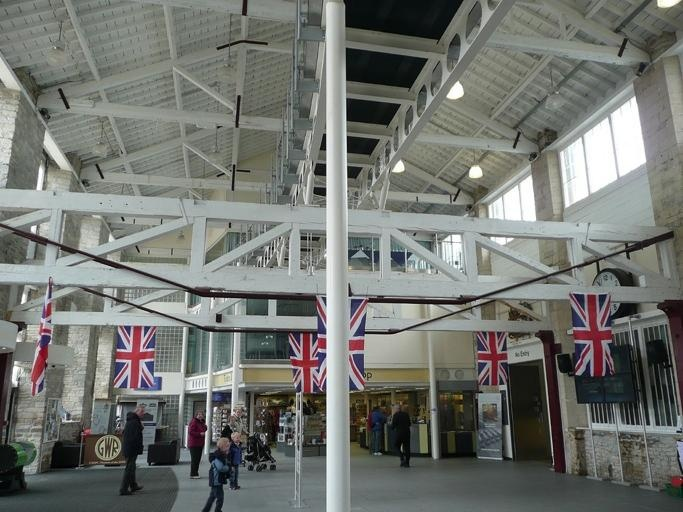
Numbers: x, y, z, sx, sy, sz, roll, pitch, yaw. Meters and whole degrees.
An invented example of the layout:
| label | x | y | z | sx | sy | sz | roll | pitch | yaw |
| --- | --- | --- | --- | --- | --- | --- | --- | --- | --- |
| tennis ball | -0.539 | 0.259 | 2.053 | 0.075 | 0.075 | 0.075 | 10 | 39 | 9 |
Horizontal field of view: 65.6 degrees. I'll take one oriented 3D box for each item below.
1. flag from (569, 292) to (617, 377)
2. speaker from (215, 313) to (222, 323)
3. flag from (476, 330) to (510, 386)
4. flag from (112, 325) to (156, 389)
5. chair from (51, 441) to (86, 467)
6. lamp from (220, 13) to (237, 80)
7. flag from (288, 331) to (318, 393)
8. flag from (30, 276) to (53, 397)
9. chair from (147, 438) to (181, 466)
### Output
| label | x | y | z | sx | sy | sz | roll | pitch | yaw |
| --- | --- | --- | --- | --- | --- | --- | --- | --- | --- |
| flag | 5.026 | 1.558 | 10.728 | 0.965 | 1.620 | 0.562 | 0 | -13 | -5 |
| speaker | -2.938 | 1.482 | 12.850 | 0.205 | 0.246 | 0.156 | -1 | -7 | 0 |
| flag | 3.942 | 2.625 | 13.880 | 0.796 | 1.374 | 0.533 | -3 | -13 | 9 |
| flag | -4.706 | 2.291 | 12.187 | 0.836 | 1.403 | 0.557 | 3 | -13 | -19 |
| chair | -8.797 | 6.365 | 17.275 | 0.884 | 0.755 | 0.841 | 0 | -10 | -11 |
| lamp | -3.093 | -5.229 | 14.220 | 0.472 | 1.856 | 1.443 | 2 | -13 | -13 |
| flag | -0.878 | 2.433 | 12.290 | 0.634 | 1.418 | 0.837 | 0 | -12 | -6 |
| flag | -5.254 | 1.408 | 9.401 | 0.246 | 2.015 | 2.199 | 6 | -14 | -29 |
| chair | -5.984 | 6.503 | 18.090 | 0.821 | 0.701 | 1.132 | 2 | -16 | -7 |
